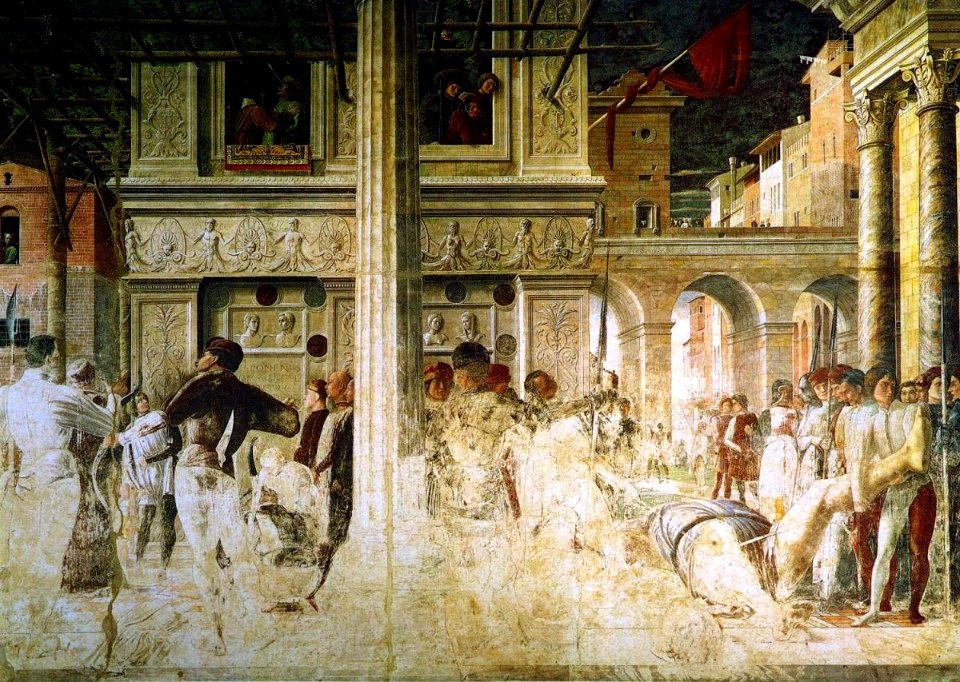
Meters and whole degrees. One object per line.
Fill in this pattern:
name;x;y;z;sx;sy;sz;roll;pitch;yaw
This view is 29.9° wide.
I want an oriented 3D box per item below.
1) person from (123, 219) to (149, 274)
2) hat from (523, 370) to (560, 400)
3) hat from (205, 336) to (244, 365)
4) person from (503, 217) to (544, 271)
person;-4.764;-1.347;24.947;0.324;0.741;0.110;0;-2;17
hat;0.839;0.613;25.004;0.389;0.489;0.397;7;-1;-7
hat;-3.473;0.082;24.529;0.441;0.173;0.329;33;-1;33
person;0.616;-1.337;25.014;0.637;0.879;0.206;3;-13;-1
